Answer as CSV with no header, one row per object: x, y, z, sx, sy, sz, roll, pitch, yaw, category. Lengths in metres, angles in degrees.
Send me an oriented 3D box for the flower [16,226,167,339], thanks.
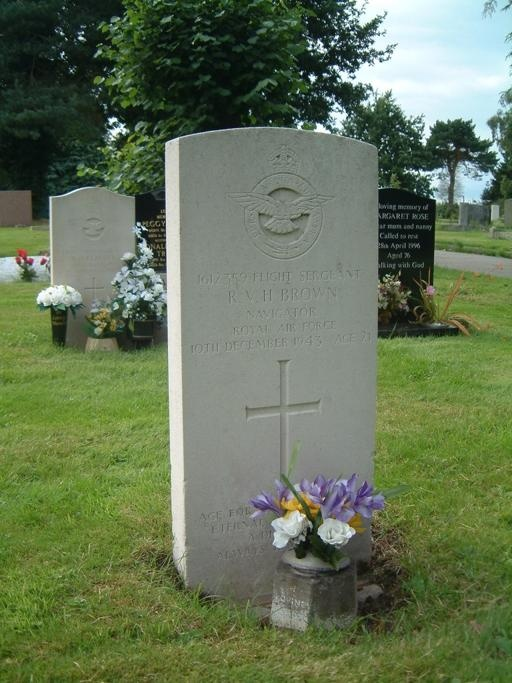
-1.578,-0.626,8.788,1.193,1.301,1.529,1,4,-7,flower

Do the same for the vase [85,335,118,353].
-1.573,0.007,8.232,0.202,0.107,0.200,1,0,37,vase

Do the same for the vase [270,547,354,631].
0.198,0.959,3.223,0.324,0.261,0.275,0,6,-11,vase

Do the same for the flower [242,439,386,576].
0.262,0.684,3.311,0.472,0.275,0.442,2,1,12,flower

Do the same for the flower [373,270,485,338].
2.012,-0.404,9.599,1.110,0.588,0.977,-1,7,5,flower
